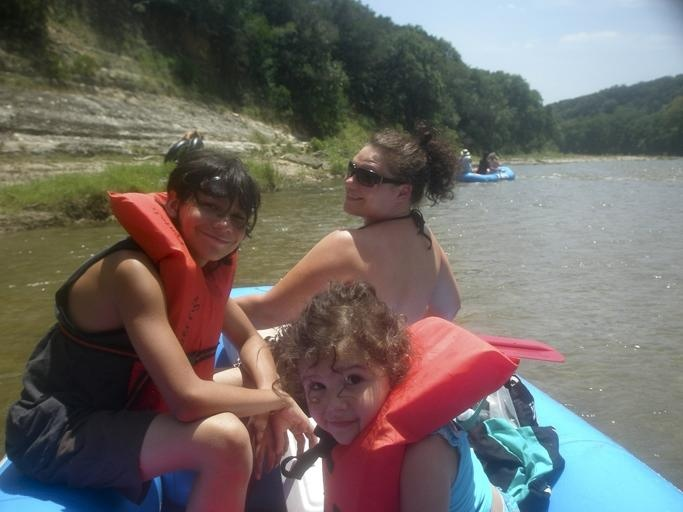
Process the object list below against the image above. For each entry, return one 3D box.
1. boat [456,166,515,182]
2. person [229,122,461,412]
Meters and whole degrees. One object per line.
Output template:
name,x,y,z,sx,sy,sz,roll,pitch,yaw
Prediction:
boat,4.379,-2.437,18.666,1.146,0.335,1.089,-4,5,-4
person,0.065,-0.093,3.340,1.185,1.300,0.875,8,13,-5
